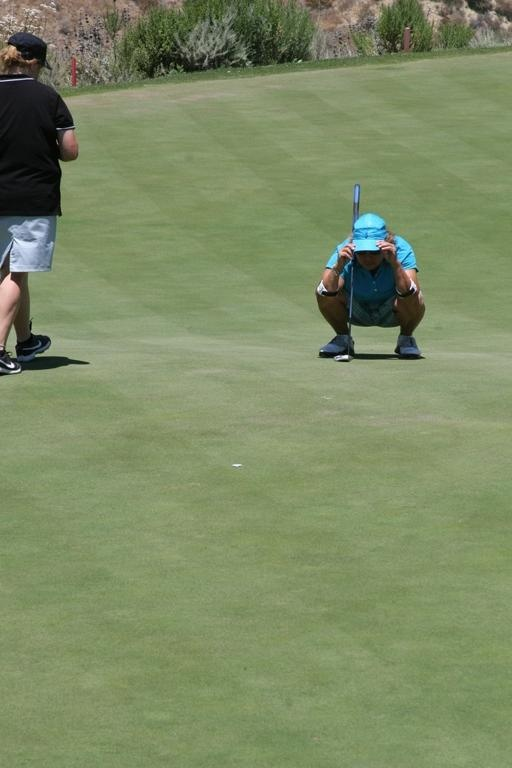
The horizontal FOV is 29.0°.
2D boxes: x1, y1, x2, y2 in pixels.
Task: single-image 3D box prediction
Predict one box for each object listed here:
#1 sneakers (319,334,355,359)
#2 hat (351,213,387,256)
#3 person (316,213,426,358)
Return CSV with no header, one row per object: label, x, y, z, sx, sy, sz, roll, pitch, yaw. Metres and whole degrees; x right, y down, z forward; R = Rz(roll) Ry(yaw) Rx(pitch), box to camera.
sneakers,0.490,-0.231,6.035,0.211,0.143,0.422,1,9,3
hat,0.646,-0.877,5.708,0.175,0.118,0.241,1,33,11
person,0.684,-0.592,6.064,0.610,0.871,0.842,5,11,25
